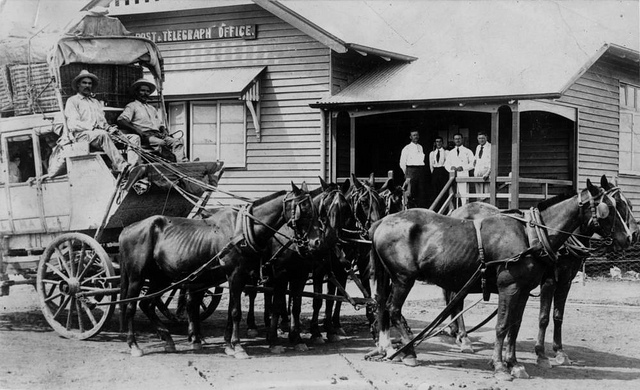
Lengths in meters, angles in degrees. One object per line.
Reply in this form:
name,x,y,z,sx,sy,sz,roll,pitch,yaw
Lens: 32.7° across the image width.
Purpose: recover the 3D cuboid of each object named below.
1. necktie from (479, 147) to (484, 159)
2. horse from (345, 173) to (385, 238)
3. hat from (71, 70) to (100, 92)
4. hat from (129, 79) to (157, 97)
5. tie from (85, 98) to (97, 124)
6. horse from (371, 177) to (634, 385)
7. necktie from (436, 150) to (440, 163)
necktie,4.927,-1.303,33.520,0.045,0.280,0.089,8,1,-31
horse,1.401,0.285,27.745,0.584,1.147,1.835,-6,21,-19
hat,-5.973,-2.968,28.121,0.635,0.274,0.617,5,-16,-43
hat,-4.715,-2.848,29.154,0.726,0.483,0.435,-1,13,-10
tie,-5.815,-2.134,27.801,0.104,0.649,0.076,-7,-31,-34
horse,4.373,2.261,26.816,5.209,3.968,2.096,2,-8,11
necktie,3.701,-1.253,34.439,0.034,0.349,0.143,-6,15,-28
